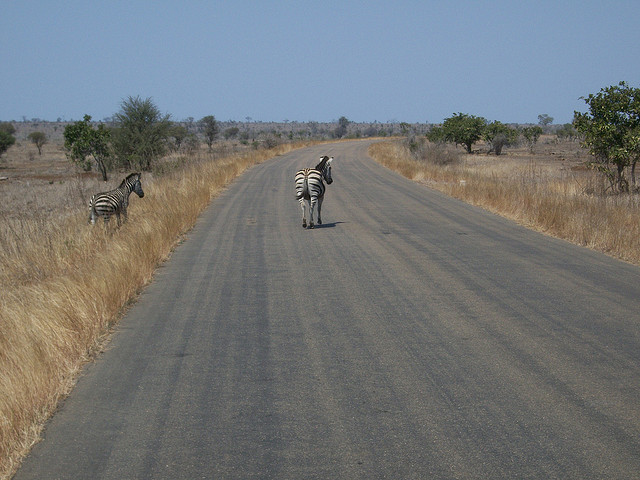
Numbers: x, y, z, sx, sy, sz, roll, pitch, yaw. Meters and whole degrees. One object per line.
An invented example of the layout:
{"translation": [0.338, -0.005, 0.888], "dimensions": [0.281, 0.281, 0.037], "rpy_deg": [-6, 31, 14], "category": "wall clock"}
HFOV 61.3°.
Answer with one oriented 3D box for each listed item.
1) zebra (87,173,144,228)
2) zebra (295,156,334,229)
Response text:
{"translation": [-5.549, -0.986, 14.839], "dimensions": [0.629, 1.517, 2.191], "rpy_deg": [4, 16, 19], "category": "zebra"}
{"translation": [-0.130, -1.585, 17.208], "dimensions": [0.743, 2.032, 2.894], "rpy_deg": [4, 12, 16], "category": "zebra"}
